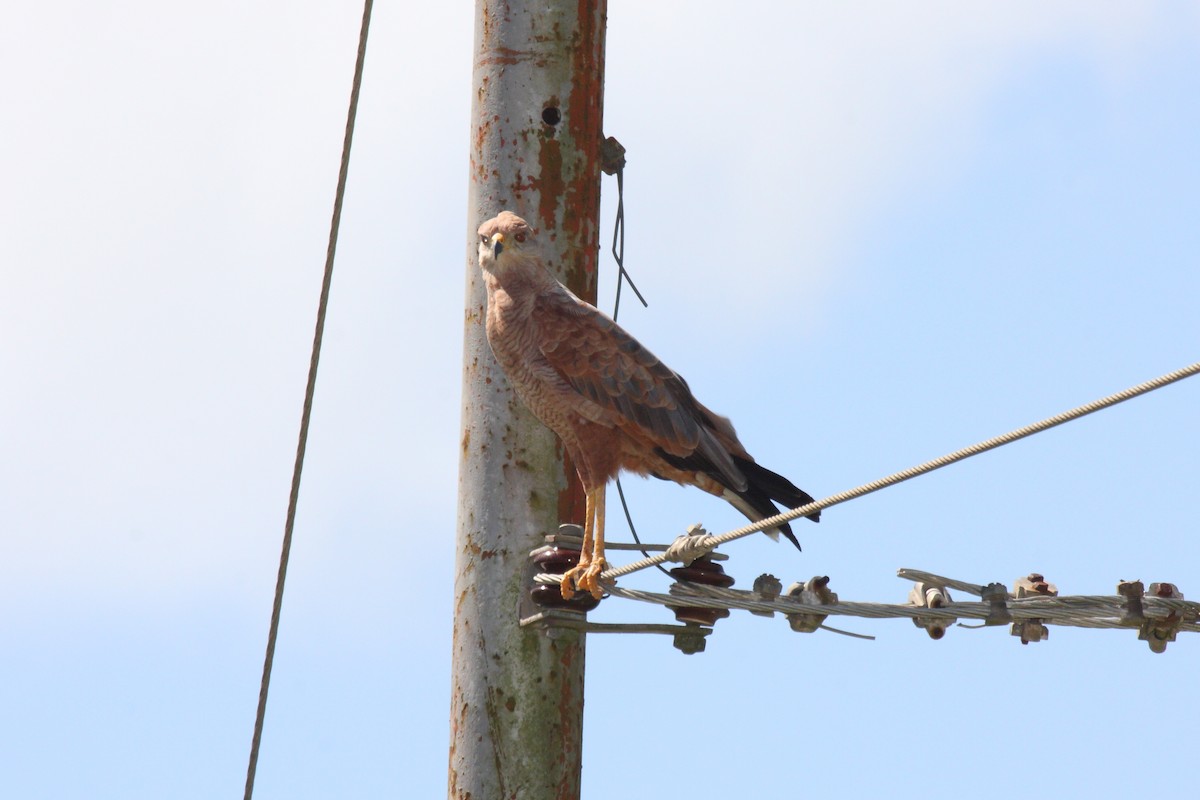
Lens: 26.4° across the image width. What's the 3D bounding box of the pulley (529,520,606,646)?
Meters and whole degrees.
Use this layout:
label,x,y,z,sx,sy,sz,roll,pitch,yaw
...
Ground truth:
label,x,y,z,sx,sy,sz,roll,pitch,yaw
pulley,-0.139,0.753,10.635,0.332,0.403,0.351,11,-55,-4
